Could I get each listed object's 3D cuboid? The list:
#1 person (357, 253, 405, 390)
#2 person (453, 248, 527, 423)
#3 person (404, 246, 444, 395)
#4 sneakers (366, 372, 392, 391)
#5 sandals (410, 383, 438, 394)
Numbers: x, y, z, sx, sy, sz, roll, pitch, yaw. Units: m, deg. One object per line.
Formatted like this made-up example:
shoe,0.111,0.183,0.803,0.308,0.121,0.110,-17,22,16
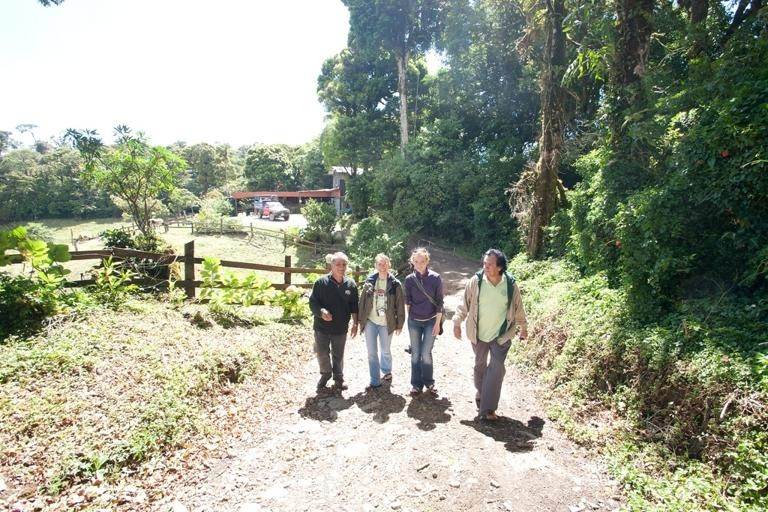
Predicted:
person,-0.056,1.192,10.925,0.839,2.483,0.434,-1,6,-1
person,1.798,1.320,10.197,1.148,2.879,0.395,0,6,9
person,0.708,1.177,10.779,0.696,2.608,0.524,0,6,4
sneakers,-0.093,2.323,11.080,0.191,0.250,0.574,-9,-19,27
sandals,0.701,2.431,10.861,0.501,0.239,0.188,6,-29,-11
